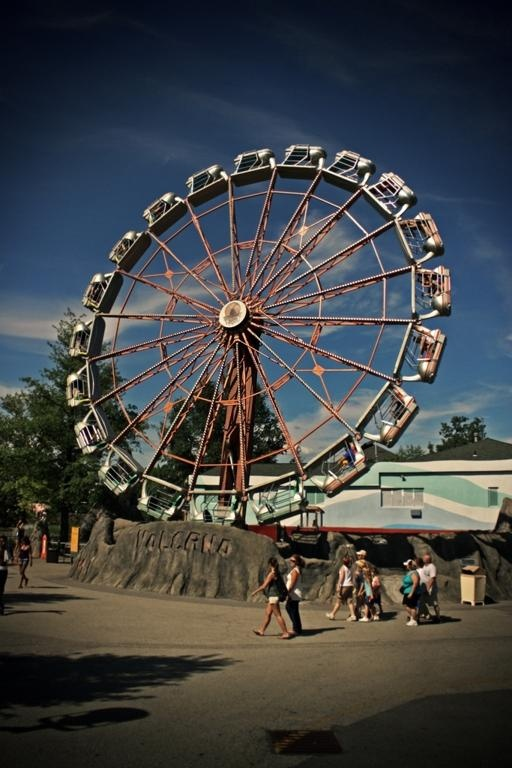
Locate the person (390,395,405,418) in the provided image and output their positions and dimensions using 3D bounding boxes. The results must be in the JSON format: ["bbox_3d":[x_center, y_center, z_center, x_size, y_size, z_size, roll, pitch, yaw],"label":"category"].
[{"bbox_3d":[5.639,0.978,23.494,0.562,0.862,0.168,-4,-9,43],"label":"person"}]

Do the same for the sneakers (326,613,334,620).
[{"bbox_3d":[1.923,6.082,15.261,0.126,0.138,0.331,2,-1,0],"label":"sneakers"}]

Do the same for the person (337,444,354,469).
[{"bbox_3d":[3.777,2.996,24.448,0.691,0.936,0.187,-2,-8,31],"label":"person"}]

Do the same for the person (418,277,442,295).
[{"bbox_3d":[7.058,-4.039,23.831,0.832,1.058,0.212,0,-7,19],"label":"person"}]
